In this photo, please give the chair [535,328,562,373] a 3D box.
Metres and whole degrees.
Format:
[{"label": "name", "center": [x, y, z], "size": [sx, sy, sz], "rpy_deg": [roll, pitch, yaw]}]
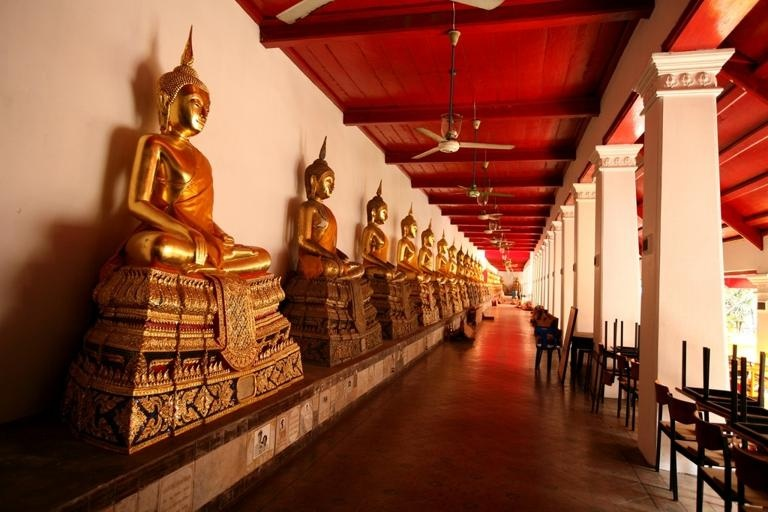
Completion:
[{"label": "chair", "center": [2.601, 1.518, 8.096], "size": [0.454, 0.646, 0.469], "rpy_deg": [-4, -21, 22]}]
